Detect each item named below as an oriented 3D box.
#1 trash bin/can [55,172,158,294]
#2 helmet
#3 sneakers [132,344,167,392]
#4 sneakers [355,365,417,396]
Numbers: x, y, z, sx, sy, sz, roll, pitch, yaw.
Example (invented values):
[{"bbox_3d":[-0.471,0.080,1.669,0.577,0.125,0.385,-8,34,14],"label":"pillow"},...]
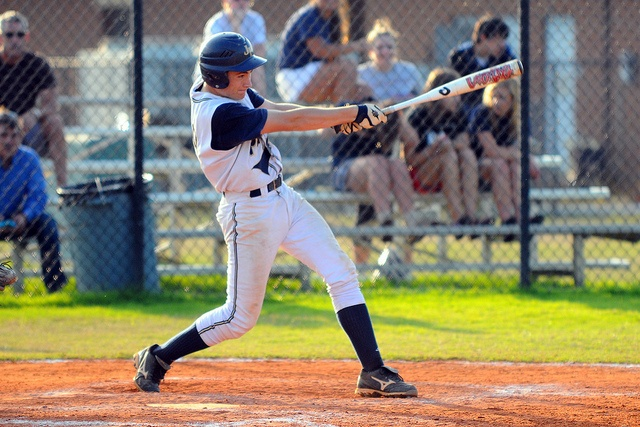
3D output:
[{"bbox_3d":[-1.995,0.089,11.063,0.880,1.395,1.128,-6,0,4],"label":"trash bin/can"},{"bbox_3d":[-0.687,-1.231,8.659,0.460,0.368,0.356,18,16,2],"label":"helmet"},{"bbox_3d":[-1.349,1.232,8.764,0.204,0.475,0.163,-23,-19,24],"label":"sneakers"},{"bbox_3d":[0.513,1.298,8.742,0.483,0.247,0.198,1,-6,9],"label":"sneakers"}]
